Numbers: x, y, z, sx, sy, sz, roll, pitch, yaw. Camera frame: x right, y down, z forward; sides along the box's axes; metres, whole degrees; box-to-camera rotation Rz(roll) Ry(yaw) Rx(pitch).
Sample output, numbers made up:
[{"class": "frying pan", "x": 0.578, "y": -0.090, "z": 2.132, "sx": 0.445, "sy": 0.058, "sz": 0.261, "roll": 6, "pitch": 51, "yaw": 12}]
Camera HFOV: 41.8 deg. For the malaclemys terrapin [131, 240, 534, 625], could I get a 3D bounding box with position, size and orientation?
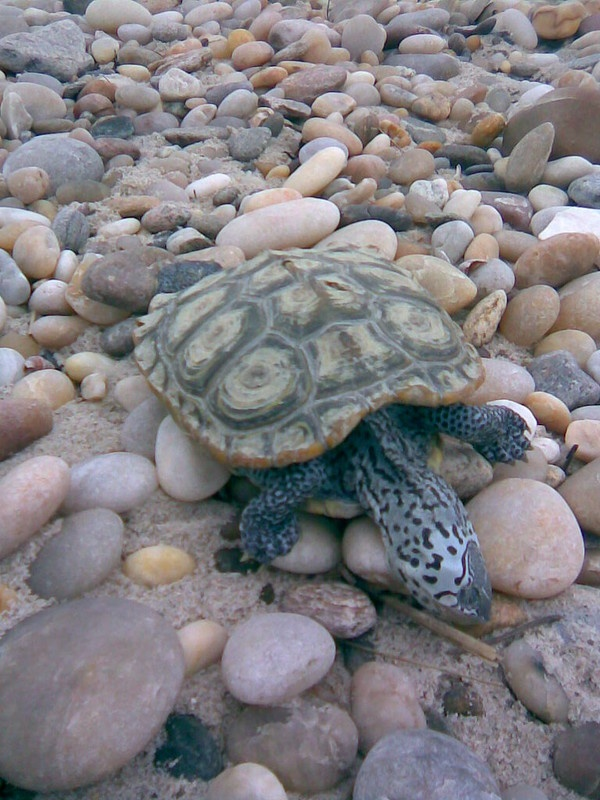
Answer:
[{"class": "malaclemys terrapin", "x": 0.019, "y": 0.028, "z": 2.252, "sx": 0.852, "sy": 0.373, "sz": 1.138, "roll": -24, "pitch": 50, "yaw": -22}]
